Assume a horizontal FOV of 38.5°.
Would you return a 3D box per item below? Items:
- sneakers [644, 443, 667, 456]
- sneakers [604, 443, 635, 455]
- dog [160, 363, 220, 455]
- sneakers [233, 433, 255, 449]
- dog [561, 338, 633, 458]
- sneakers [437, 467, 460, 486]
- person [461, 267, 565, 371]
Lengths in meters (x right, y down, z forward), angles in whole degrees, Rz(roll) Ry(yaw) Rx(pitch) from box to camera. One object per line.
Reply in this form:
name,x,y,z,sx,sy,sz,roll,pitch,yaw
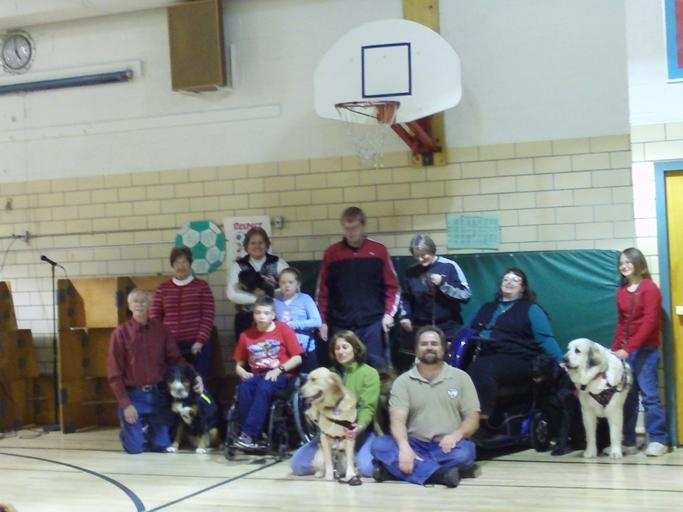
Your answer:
sneakers,3.168,1.930,9.786,0.099,0.092,0.271,-7,-13,40
sneakers,2.841,1.953,9.854,0.352,0.151,0.115,2,0,-4
dog,-1.596,1.641,10.526,0.620,0.872,0.803,2,-1,24
sneakers,-0.970,1.808,9.542,0.090,0.117,0.252,12,-13,47
dog,2.713,1.399,9.986,0.569,1.214,1.617,-5,-3,28
sneakers,0.986,2.021,8.942,0.198,0.174,0.120,-4,-5,-1
person,1.823,0.675,10.114,0.981,0.624,0.386,-5,-18,45
